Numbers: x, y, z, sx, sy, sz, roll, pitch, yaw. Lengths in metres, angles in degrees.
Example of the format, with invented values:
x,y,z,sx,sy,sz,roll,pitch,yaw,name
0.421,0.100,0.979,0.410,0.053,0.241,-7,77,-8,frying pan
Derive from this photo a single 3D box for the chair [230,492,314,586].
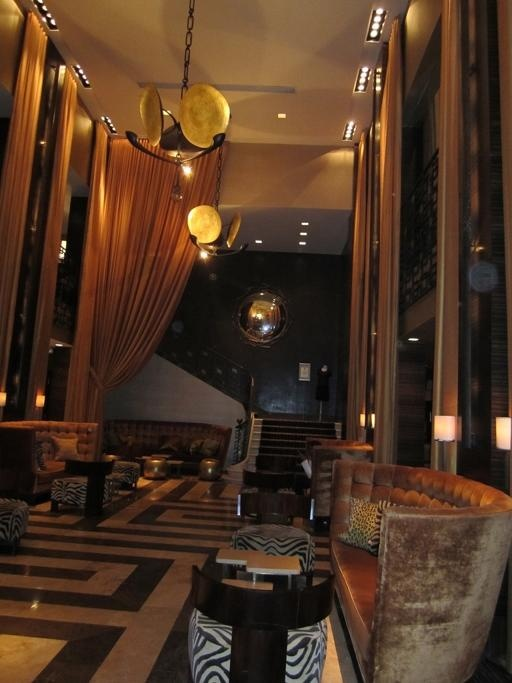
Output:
x,y,z,sx,sy,sz,roll,pitch,yaw,name
0.149,1.449,3.552,0.589,0.587,0.955,1,-23,2,chair

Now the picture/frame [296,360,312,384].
x,y,z,sx,sy,sz,roll,pitch,yaw,name
1.294,0.824,12.400,0.514,0.821,0.100,2,-11,0,picture/frame

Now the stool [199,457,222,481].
x,y,z,sx,sy,sz,roll,pitch,yaw,name
-0.876,2.435,8.782,0.339,0.335,0.364,1,4,1,stool

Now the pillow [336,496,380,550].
x,y,z,sx,sy,sz,roll,pitch,yaw,name
0.702,1.198,3.004,0.096,0.353,0.335,18,-12,-22,pillow

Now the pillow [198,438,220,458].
x,y,z,sx,sy,sz,roll,pitch,yaw,name
-0.978,2.252,9.739,0.313,0.338,0.144,14,-22,18,pillow

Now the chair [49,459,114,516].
x,y,z,sx,sy,sz,roll,pitch,yaw,name
-1.982,1.628,5.426,0.624,0.788,0.710,3,-13,1,chair

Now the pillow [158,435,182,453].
x,y,z,sx,sy,sz,roll,pitch,yaw,name
-1.866,2.275,10.240,0.436,0.298,0.608,5,-10,-9,pillow

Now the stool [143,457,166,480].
x,y,z,sx,sy,sz,roll,pitch,yaw,name
-1.786,2.254,8.369,0.327,0.348,0.353,2,2,4,stool

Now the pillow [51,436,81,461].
x,y,z,sx,sy,sz,roll,pitch,yaw,name
-2.757,1.559,6.698,0.353,0.389,0.148,4,-50,-20,pillow
